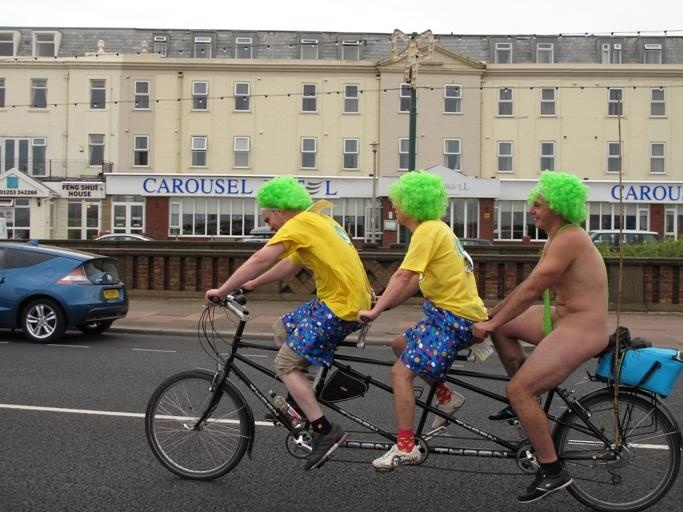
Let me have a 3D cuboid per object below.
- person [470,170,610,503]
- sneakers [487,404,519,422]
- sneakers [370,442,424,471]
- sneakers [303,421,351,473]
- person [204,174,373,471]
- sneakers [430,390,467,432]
[{"bbox_3d":[1.903,0.746,8.168,1.089,3.025,0.542,2,3,15],"label":"person"},{"bbox_3d":[1.511,1.497,8.302,0.297,0.112,0.120,2,-2,5],"label":"sneakers"},{"bbox_3d":[0.528,1.890,8.285,0.581,0.237,0.190,-5,-1,-1],"label":"sneakers"},{"bbox_3d":[-0.137,1.779,8.351,0.297,0.597,0.207,36,13,-9],"label":"sneakers"},{"bbox_3d":[-0.365,0.641,8.429,1.305,2.765,0.639,2,3,1],"label":"person"},{"bbox_3d":[1.009,1.465,8.429,0.219,0.481,0.180,27,11,-15],"label":"sneakers"}]
